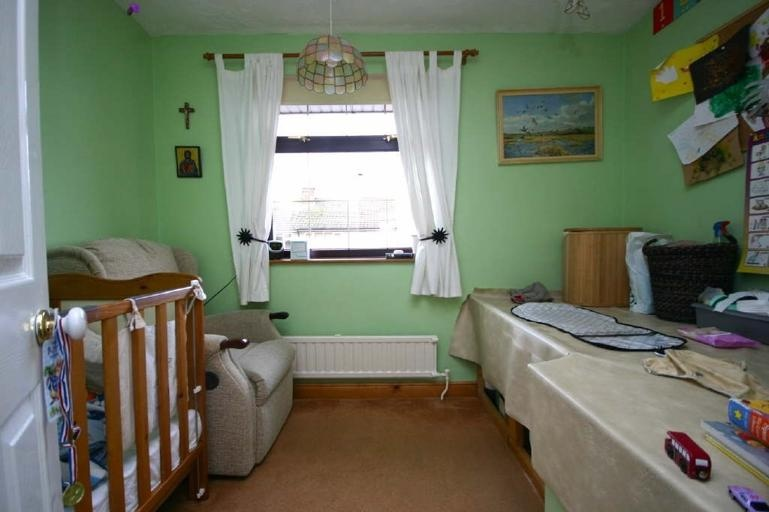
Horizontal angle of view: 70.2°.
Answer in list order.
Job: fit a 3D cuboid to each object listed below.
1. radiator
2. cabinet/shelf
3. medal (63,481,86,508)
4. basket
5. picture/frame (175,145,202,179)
[{"bbox_3d":[-0.154,0.753,4.123,1.140,0.327,0.060,-2,7,1],"label":"radiator"},{"bbox_3d":[1.489,0.067,3.885,0.450,0.536,0.496,-1,4,3],"label":"cabinet/shelf"},{"bbox_3d":[-1.337,1.006,2.335,0.078,0.085,0.061,-8,9,-41],"label":"medal"},{"bbox_3d":[1.896,0.121,3.382,0.528,0.525,0.529,-8,-3,19],"label":"basket"},{"bbox_3d":[-1.507,-0.720,4.183,0.229,0.290,0.031,0,10,-1],"label":"picture/frame"}]
